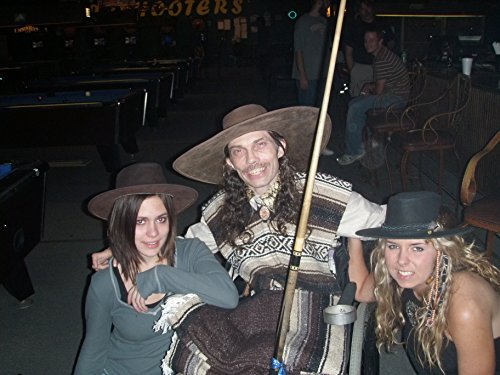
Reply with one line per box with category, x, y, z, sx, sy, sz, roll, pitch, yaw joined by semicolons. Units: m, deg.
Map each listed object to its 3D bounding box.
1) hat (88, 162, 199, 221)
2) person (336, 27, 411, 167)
hat;-0.644;0.030;2.755;0.450;0.192;0.500;-10;-16;10
person;1.573;-1.177;5.705;0.896;1.627;0.615;-2;9;4
